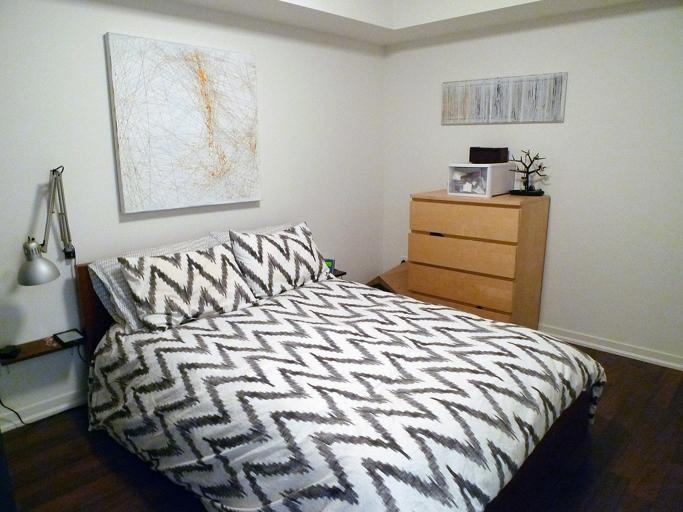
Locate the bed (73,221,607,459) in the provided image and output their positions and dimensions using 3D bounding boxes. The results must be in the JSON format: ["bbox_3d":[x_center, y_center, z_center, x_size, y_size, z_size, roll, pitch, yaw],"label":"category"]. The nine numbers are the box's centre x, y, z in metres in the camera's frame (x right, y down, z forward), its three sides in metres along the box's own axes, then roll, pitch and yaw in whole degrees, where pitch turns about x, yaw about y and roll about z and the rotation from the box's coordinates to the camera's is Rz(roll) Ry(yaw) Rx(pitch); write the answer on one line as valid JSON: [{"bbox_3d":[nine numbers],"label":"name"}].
[{"bbox_3d":[-0.682,0.428,3.163,1.904,1.072,0.996,-8,16,-30],"label":"bed"}]

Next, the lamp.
[{"bbox_3d":[-1.771,-0.186,2.785,0.295,0.647,0.365,-8,16,-30],"label":"lamp"}]

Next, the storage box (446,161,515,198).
[{"bbox_3d":[1.115,-0.677,3.834,0.365,0.242,0.346,11,19,43],"label":"storage box"}]
